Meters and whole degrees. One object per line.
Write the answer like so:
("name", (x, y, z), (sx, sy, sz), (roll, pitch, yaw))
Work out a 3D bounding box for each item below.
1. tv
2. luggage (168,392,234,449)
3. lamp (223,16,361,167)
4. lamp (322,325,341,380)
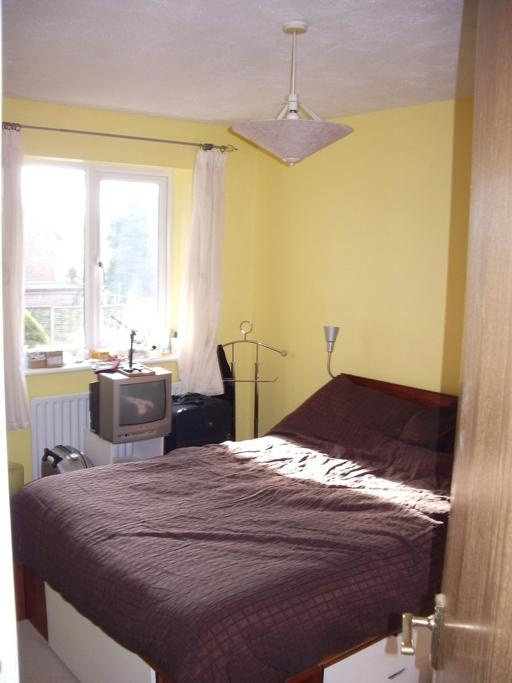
("tv", (-0.794, 0.319, 4.050), (0.676, 0.630, 0.466), (-3, 6, -44))
("luggage", (-0.409, 0.576, 4.306), (0.549, 0.496, 0.322), (-6, 9, -44))
("lamp", (0.175, -1.097, 2.591), (0.544, 0.575, 0.539), (-7, 14, -34))
("lamp", (0.561, 0.086, 4.329), (0.112, 0.410, 0.209), (1, 8, 8))
